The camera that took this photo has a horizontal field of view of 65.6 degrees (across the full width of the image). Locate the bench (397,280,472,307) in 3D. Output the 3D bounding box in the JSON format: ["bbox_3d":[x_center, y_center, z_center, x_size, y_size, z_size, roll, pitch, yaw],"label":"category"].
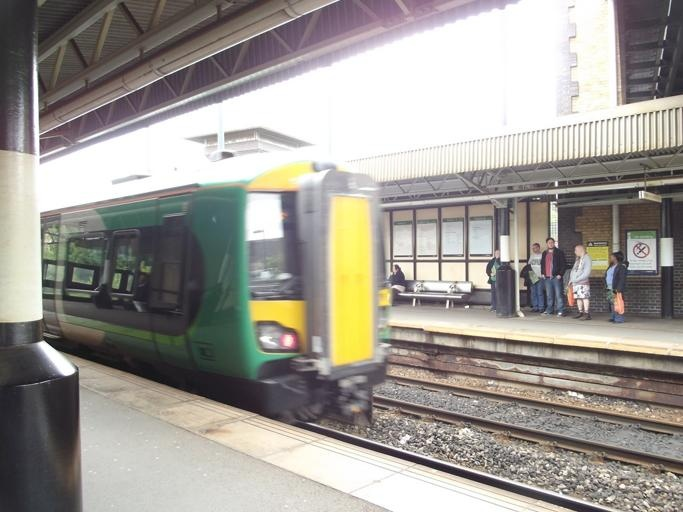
[{"bbox_3d":[3.030,1.177,16.979,2.268,0.883,1.059,6,7,38],"label":"bench"}]

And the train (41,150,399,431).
[{"bbox_3d":[-2.906,0.208,8.935,7.704,3.570,1.936,5,7,35],"label":"train"}]

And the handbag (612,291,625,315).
[{"bbox_3d":[6.748,1.121,12.740,0.279,0.543,0.199,1,6,-7],"label":"handbag"}]

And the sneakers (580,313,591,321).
[{"bbox_3d":[6.252,1.507,13.489,0.248,0.189,0.540,4,7,27],"label":"sneakers"}]

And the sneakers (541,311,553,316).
[{"bbox_3d":[5.594,1.522,14.464,0.120,0.117,0.286,1,4,-9],"label":"sneakers"}]
